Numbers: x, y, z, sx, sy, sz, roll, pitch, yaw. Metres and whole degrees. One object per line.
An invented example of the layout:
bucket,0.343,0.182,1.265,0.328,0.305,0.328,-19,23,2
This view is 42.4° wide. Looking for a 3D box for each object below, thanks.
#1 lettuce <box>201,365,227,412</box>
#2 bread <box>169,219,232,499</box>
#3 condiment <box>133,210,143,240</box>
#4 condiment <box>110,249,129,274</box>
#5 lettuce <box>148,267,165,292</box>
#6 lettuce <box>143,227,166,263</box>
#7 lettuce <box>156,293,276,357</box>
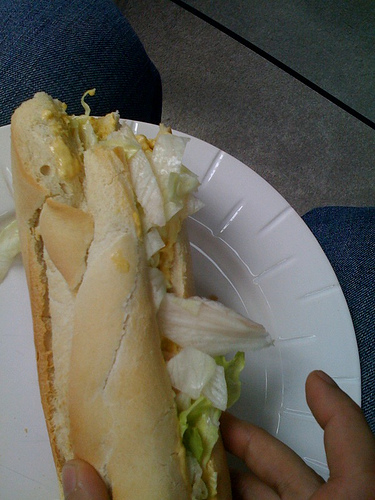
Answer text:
lettuce,0.061,0.316,1.098,0.071,0.084,0.019,-4,-10,-13
bread,0.010,0.245,1.208,0.152,0.696,0.115,-4,0,-5
condiment,-0.103,-0.059,1.009,0.013,0.045,0.033,-4,0,15
condiment,-0.136,0.021,0.972,0.032,0.047,0.011,-27,9,-27
lettuce,-0.076,0.061,1.082,0.015,0.043,0.050,-15,-20,37
lettuce,-0.075,-0.018,1.054,0.020,0.062,0.071,4,25,42
lettuce,0.056,0.193,1.148,0.278,0.096,0.113,20,28,0
